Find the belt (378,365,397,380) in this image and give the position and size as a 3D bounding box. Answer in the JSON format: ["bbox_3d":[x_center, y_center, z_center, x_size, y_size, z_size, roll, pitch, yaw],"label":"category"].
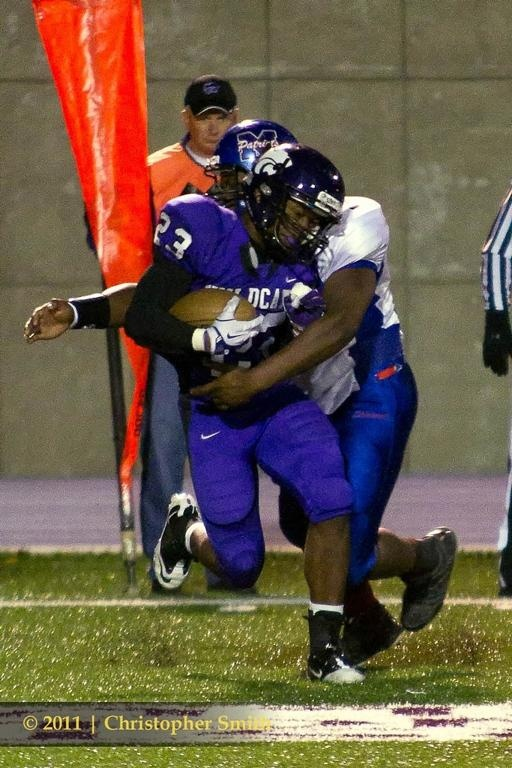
[{"bbox_3d":[0.321,-0.022,2.805,0.009,0.017,0.073,-24,-7,42],"label":"belt"}]

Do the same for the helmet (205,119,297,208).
[{"bbox_3d":[0.014,-0.628,3.272,0.319,0.256,0.219,-9,12,5],"label":"helmet"}]

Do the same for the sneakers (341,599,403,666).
[{"bbox_3d":[0.269,0.628,2.913,0.173,0.157,0.101,-24,33,13],"label":"sneakers"}]

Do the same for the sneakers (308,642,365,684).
[{"bbox_3d":[0.168,0.624,2.533,0.131,0.070,0.068,-2,-2,15],"label":"sneakers"}]

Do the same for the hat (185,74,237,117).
[{"bbox_3d":[-0.171,-1.021,4.057,0.156,0.088,0.188,-2,4,-4],"label":"hat"}]

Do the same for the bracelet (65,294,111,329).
[{"bbox_3d":[-0.413,-0.175,2.814,0.116,0.084,0.072,-8,25,-11],"label":"bracelet"}]

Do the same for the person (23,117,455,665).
[{"bbox_3d":[0.037,0.037,2.856,0.996,1.246,1.028,-14,13,-24],"label":"person"}]

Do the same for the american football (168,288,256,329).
[{"bbox_3d":[-0.111,-0.164,2.568,0.164,0.078,0.096,-2,-4,-4],"label":"american football"}]

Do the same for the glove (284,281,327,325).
[{"bbox_3d":[0.106,-0.180,2.638,0.099,0.097,0.045,-8,46,-22],"label":"glove"}]

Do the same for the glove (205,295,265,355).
[{"bbox_3d":[-0.052,-0.120,2.532,0.080,0.133,0.118,11,23,32],"label":"glove"}]
